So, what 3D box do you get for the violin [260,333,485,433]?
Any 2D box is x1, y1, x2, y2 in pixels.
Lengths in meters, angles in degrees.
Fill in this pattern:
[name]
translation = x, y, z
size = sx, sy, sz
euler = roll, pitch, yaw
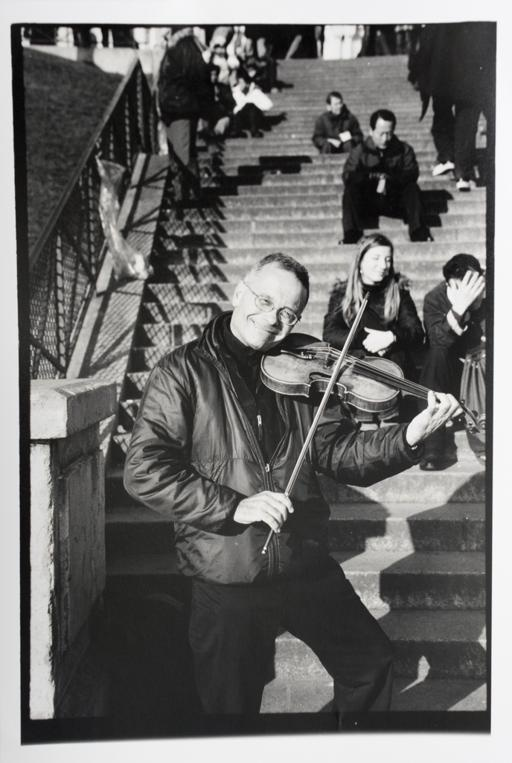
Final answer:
[violin]
translation = 0.317, -0.004, 4.084
size = 0.597, 0.284, 0.104
euler = 5, 10, -1
